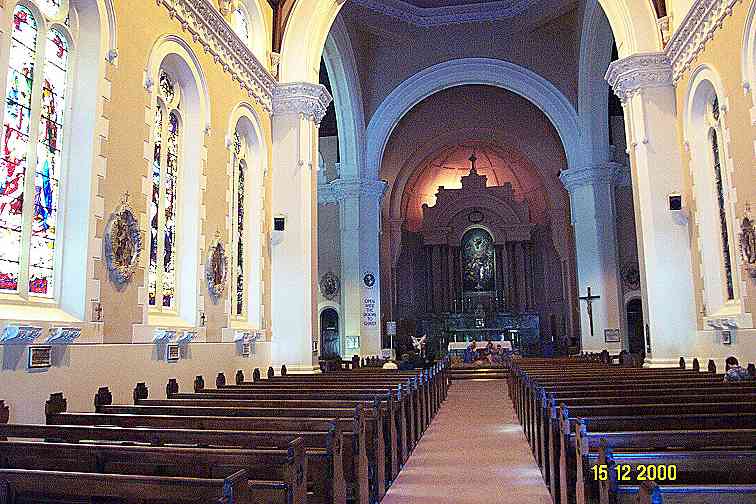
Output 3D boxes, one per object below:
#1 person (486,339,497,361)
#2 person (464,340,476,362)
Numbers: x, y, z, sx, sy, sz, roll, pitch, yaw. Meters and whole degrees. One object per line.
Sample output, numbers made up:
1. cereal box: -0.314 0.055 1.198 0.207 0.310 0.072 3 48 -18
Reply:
1. person: 4.391 3.824 22.611 0.307 0.371 0.884 -9 29 13
2. person: 3.661 3.960 23.222 0.475 0.835 1.216 -3 -10 7
